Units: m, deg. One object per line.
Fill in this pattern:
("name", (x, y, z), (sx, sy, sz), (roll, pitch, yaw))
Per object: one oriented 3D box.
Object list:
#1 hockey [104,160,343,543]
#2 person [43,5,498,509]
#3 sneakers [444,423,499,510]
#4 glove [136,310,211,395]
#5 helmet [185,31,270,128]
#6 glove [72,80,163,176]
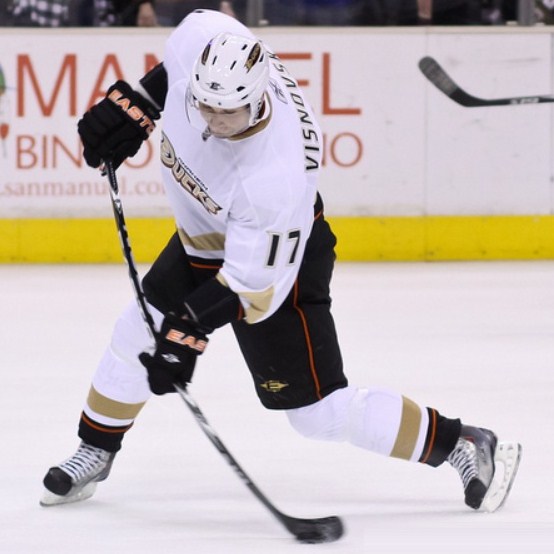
("hockey", (-0.139, 0.247, 2.564), (0.243, 0.133, 1.188), (-27, 81, -18))
("person", (0.020, -0.061, 3.511), (1.347, 1.729, 1.024), (-21, 48, -24))
("sneakers", (0.541, 0.499, 2.588), (0.115, 0.088, 0.264), (15, 47, -5))
("glove", (-0.257, 0.202, 2.497), (0.164, 0.209, 0.092), (38, 27, 2))
("helmet", (-0.114, -0.470, 2.239), (0.187, 0.212, 0.167), (-1, 14, -3))
("glove", (-0.432, -0.407, 2.645), (0.186, 0.256, 0.109), (53, 1, 17))
